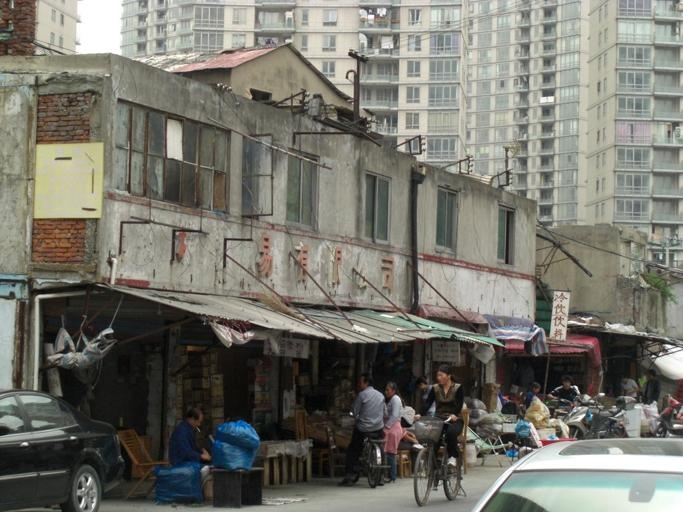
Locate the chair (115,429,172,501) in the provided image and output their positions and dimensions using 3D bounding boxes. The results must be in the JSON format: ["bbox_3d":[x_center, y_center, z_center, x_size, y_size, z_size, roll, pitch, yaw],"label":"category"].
[{"bbox_3d":[-4.975,5.048,38.211,1.410,1.927,1.343,0,-2,18],"label":"chair"}]

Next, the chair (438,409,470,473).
[{"bbox_3d":[3.207,4.797,40.365,0.702,1.627,0.794,5,-1,-15],"label":"chair"}]

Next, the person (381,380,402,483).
[{"bbox_3d":[1.367,4.511,39.731,0.494,2.216,0.669,3,1,5],"label":"person"}]

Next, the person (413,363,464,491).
[{"bbox_3d":[2.415,3.889,37.663,0.923,2.546,1.125,-1,-3,16],"label":"person"}]

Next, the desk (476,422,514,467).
[{"bbox_3d":[4.348,5.227,43.060,1.246,1.467,0.851,-3,0,30],"label":"desk"}]

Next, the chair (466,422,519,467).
[{"bbox_3d":[4.390,5.335,42.823,1.419,1.072,0.867,-5,-5,30],"label":"chair"}]

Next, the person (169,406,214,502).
[{"bbox_3d":[-3.563,4.736,36.949,1.008,2.150,0.699,0,-4,-6],"label":"person"}]

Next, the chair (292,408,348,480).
[{"bbox_3d":[-0.508,4.960,40.959,1.237,1.790,1.386,2,2,-16],"label":"chair"}]

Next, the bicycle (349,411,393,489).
[{"bbox_3d":[0.814,5.145,39.176,0.777,1.396,0.748,0,-4,-1],"label":"bicycle"}]
